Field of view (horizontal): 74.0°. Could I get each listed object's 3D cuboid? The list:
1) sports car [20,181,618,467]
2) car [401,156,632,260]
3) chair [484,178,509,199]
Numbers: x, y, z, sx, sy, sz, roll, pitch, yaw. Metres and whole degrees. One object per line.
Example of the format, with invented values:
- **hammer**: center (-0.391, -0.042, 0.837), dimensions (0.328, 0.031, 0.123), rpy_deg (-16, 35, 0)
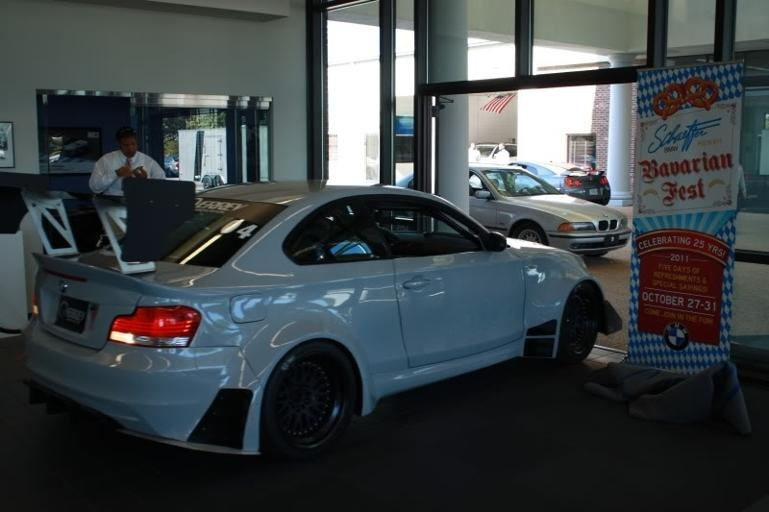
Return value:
- **sports car**: center (-0.192, 0.228, 4.393), dimensions (4.032, 1.281, 2.090), rpy_deg (-9, 10, -38)
- **car**: center (2.558, -1.205, 10.998), dimensions (4.644, 1.461, 2.069), rpy_deg (9, 12, 37)
- **chair**: center (2.288, -1.388, 10.616), dimensions (0.456, 0.392, 0.333), rpy_deg (-4, 10, -22)
